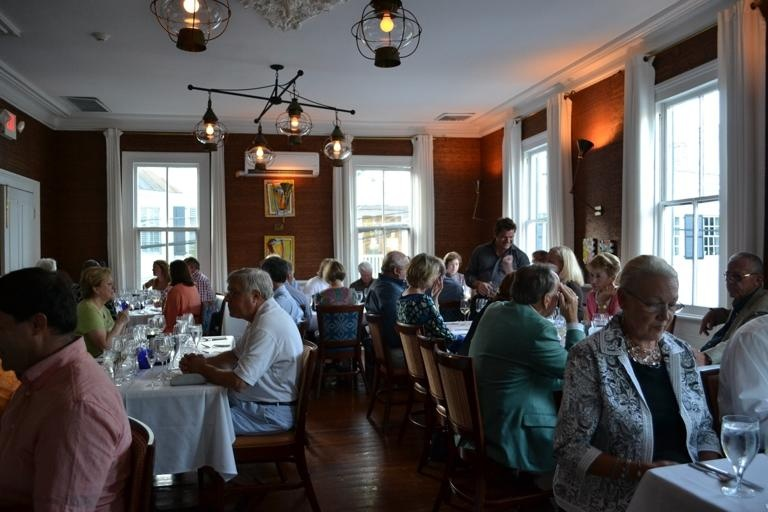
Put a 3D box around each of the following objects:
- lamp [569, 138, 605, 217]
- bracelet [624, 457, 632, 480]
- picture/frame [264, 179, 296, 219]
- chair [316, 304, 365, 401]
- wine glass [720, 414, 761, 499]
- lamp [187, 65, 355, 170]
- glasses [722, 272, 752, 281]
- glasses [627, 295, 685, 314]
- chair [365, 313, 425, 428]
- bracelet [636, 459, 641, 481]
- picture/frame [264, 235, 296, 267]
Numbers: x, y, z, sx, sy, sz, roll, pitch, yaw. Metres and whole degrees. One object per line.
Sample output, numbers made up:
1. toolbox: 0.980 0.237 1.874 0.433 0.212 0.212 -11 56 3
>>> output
1. lamp: 2.594 -1.001 7.114 0.198 0.969 0.613 -1 6 -6
2. bracelet: 1.111 0.977 2.549 0.021 0.057 0.056 8 39 13
3. picture/frame: -1.766 -0.991 9.341 0.620 0.732 0.050 1 3 -7
4. chair: -0.489 1.037 6.280 0.611 0.991 0.659 2 -8 -26
5. wine glass: 1.506 0.840 2.364 0.195 0.287 0.130 -1 6 -8
6. lamp: -1.130 -1.544 6.352 1.589 0.875 1.634 0 -1 -1
7. glasses: 2.649 0.154 4.158 0.162 0.077 0.072 4 8 33
8. glasses: 1.289 0.230 2.637 0.125 0.039 0.130 6 12 -14
9. chair: 0.149 1.084 5.423 0.680 1.086 0.616 -1 -1 -17
10. bracelet: 1.161 0.977 2.546 0.023 0.061 0.019 1 6 9
11. picture/frame: -1.573 -0.102 8.342 0.486 0.593 0.039 1 0 -8
